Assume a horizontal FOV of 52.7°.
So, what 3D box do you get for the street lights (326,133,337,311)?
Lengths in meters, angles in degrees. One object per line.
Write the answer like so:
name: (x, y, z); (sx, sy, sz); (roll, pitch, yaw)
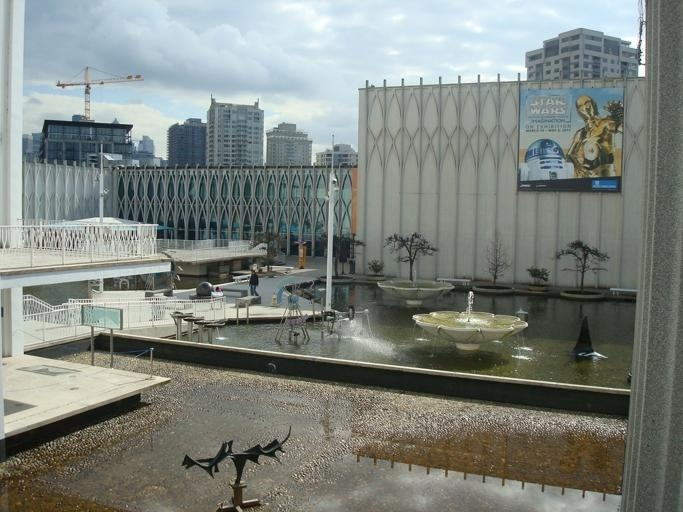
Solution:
street lights: (-0.532, -1.325, 37.187); (0.735, 10.773, 0.534); (2, 5, 10)
